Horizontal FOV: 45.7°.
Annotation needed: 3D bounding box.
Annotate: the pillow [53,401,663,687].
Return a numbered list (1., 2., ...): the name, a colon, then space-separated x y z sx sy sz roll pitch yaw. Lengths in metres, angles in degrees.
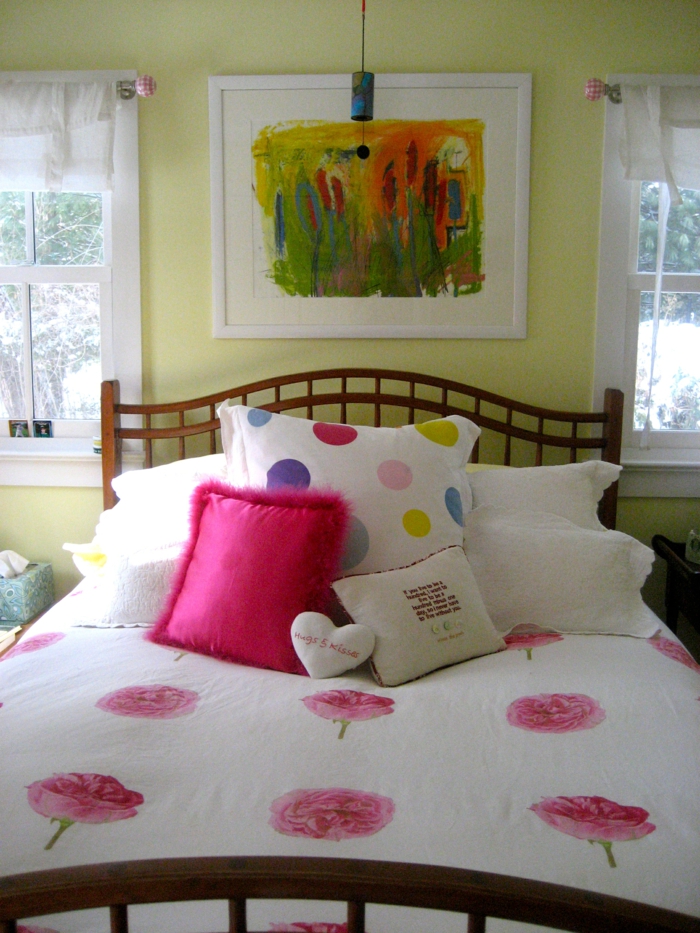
1. pillow: 0.044 0.160 1.699 1.108 0.532 0.357 0 -4 6

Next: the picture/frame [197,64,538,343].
1. picture/frame: 0.077 -0.728 2.207 0.787 0.587 0.031 -1 12 1
